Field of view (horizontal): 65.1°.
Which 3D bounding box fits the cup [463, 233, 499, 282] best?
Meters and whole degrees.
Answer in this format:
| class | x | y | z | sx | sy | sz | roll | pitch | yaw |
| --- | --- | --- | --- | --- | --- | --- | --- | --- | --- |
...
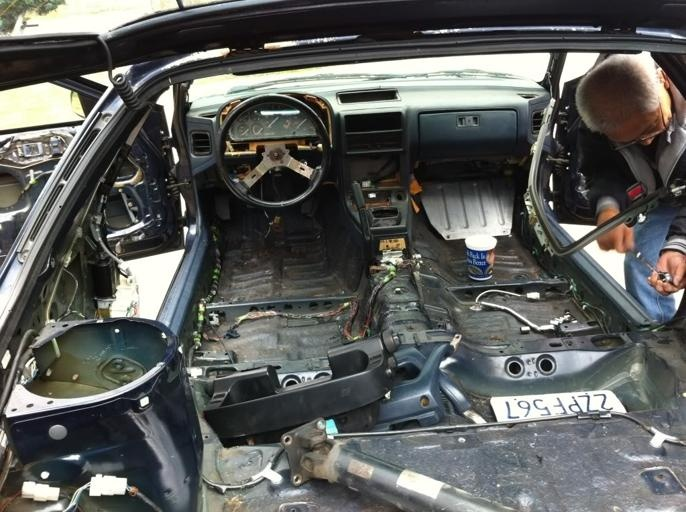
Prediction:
| class | x | y | z | sx | sy | sz | roll | pitch | yaw |
| --- | --- | --- | --- | --- | --- | --- | --- | --- | --- |
| cup | 0.941 | 0.011 | 3.687 | 0.173 | 0.318 | 0.287 | -2 | 14 | 12 |
